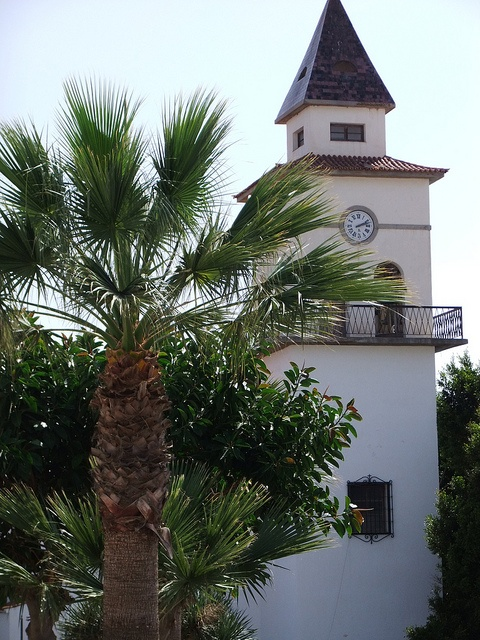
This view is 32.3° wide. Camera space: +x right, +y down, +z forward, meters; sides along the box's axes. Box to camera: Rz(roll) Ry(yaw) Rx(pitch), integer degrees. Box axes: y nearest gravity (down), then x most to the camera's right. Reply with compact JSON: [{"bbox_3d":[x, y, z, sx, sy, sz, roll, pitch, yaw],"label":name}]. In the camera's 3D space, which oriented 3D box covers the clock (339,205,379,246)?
[{"bbox_3d":[2.684,-2.085,19.092,0.534,0.995,0.911,-14,-19,42],"label":"clock"}]
